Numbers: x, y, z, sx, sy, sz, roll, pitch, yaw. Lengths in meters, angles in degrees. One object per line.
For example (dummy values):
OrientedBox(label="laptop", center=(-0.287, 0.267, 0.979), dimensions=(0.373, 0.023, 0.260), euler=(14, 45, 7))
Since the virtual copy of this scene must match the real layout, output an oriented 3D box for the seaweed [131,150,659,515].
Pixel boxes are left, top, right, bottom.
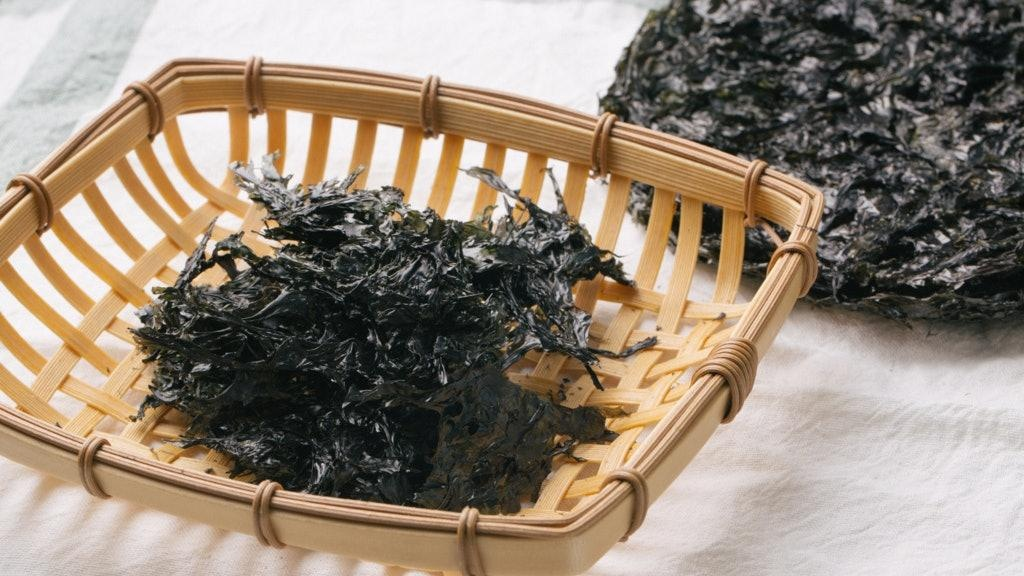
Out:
OrientedBox(label="seaweed", center=(-0.189, 0.043, 1.924), dimensions=(0.672, 0.248, 0.694), euler=(32, 62, 19))
